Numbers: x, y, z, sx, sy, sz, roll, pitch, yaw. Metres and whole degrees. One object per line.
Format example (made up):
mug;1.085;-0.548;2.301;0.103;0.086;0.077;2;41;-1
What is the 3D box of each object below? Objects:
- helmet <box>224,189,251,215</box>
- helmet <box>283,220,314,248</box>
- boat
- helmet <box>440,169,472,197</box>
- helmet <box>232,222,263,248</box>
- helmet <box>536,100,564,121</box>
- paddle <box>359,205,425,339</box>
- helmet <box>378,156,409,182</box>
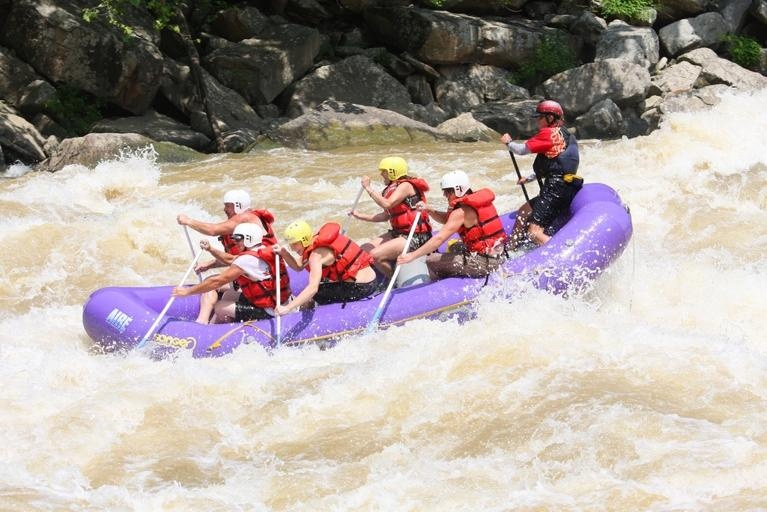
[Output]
helmet;-2.158;-0.817;14.974;0.437;0.302;0.298;5;12;-8
helmet;-1.174;-0.321;14.048;0.414;0.297;0.308;1;2;-30
boat;-0.232;0.562;14.643;6.965;1.155;2.964;-10;11;-3
helmet;1.057;-1.047;14.504;0.462;0.330;0.317;5;12;3
helmet;-1.911;-0.303;14.112;0.451;0.293;0.312;-11;34;-8
helmet;2.542;-2.234;15.290;0.607;0.281;0.412;11;7;3
paddle;0.148;0.302;14.382;0.193;2.114;0.333;28;-16;7
helmet;0.161;-1.295;14.947;0.451;0.304;0.319;4;4;1
